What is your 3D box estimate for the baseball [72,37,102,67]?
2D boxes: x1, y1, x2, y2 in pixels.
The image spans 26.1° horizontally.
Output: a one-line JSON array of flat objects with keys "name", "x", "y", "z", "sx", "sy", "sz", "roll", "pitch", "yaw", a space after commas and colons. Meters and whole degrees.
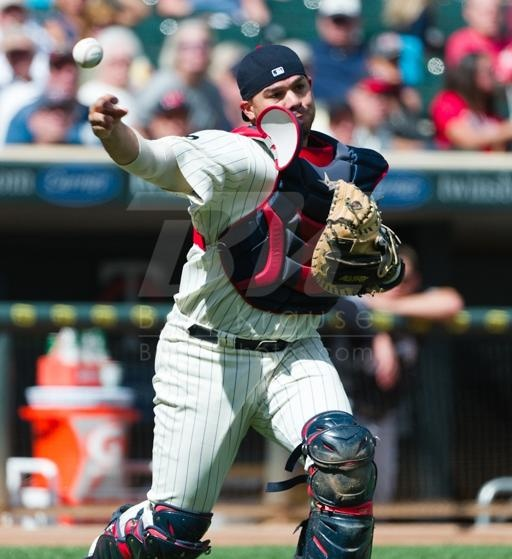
[{"name": "baseball", "x": -0.585, "y": -0.810, "z": 3.872, "sx": 0.123, "sy": 0.096, "sz": 0.113, "roll": -4, "pitch": -1, "yaw": 7}]

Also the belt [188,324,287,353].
[{"name": "belt", "x": -0.063, "y": 0.233, "z": 4.098, "sx": 0.200, "sy": 0.035, "sz": 0.170, "roll": 9, "pitch": -2, "yaw": -37}]
